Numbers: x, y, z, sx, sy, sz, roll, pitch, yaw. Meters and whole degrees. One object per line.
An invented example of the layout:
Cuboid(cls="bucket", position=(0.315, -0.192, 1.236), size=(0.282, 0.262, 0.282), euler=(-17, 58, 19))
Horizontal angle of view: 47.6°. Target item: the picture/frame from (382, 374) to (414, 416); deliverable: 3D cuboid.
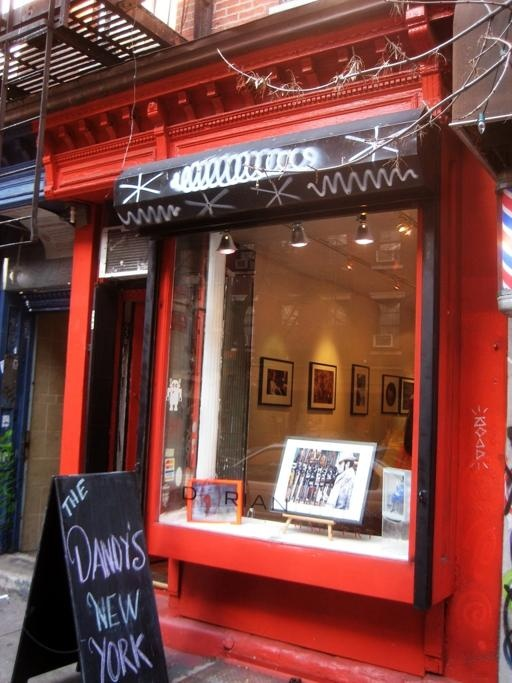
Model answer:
Cuboid(cls="picture/frame", position=(0.824, 0.317, 3.346), size=(0.017, 0.215, 0.223), euler=(5, -5, -17))

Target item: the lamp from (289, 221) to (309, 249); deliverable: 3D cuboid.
Cuboid(cls="lamp", position=(0.276, -0.689, 3.807), size=(0.107, 0.255, 0.123), euler=(-5, -14, 24))

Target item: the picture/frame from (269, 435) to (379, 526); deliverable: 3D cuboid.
Cuboid(cls="picture/frame", position=(0.440, 0.879, 3.563), size=(0.572, 0.490, 0.021), euler=(0, -23, 43))

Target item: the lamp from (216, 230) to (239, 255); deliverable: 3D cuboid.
Cuboid(cls="lamp", position=(-0.213, -0.699, 4.152), size=(0.117, 0.132, 0.171), euler=(5, -5, -33))

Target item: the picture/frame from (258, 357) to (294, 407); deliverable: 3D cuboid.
Cuboid(cls="picture/frame", position=(0.142, 0.286, 3.941), size=(0.277, 0.435, 0.029), euler=(-4, -10, 41))
